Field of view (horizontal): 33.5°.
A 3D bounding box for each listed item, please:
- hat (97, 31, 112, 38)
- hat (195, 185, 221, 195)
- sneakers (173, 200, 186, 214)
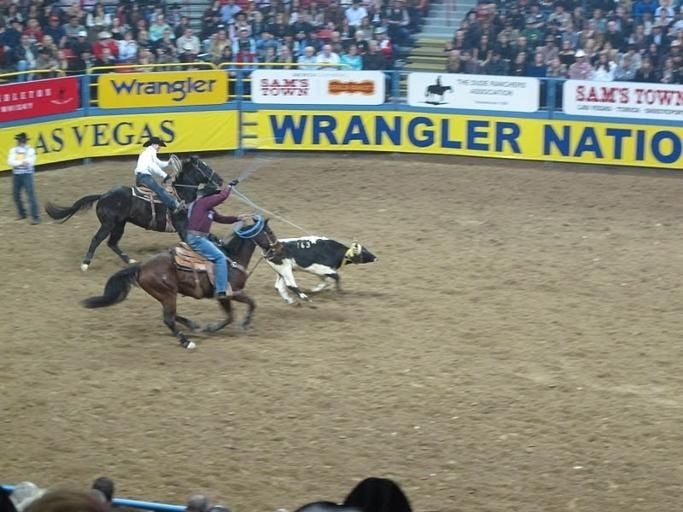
[{"bbox_3d":[-6.334,-5.861,30.329,0.332,0.179,0.351,3,17,5],"label":"hat"},{"bbox_3d":[-2.330,-1.145,19.924,0.405,0.118,0.410,-6,7,0],"label":"hat"},{"bbox_3d":[-3.238,-0.968,22.774,0.279,0.206,0.111,-1,20,-14],"label":"sneakers"}]
